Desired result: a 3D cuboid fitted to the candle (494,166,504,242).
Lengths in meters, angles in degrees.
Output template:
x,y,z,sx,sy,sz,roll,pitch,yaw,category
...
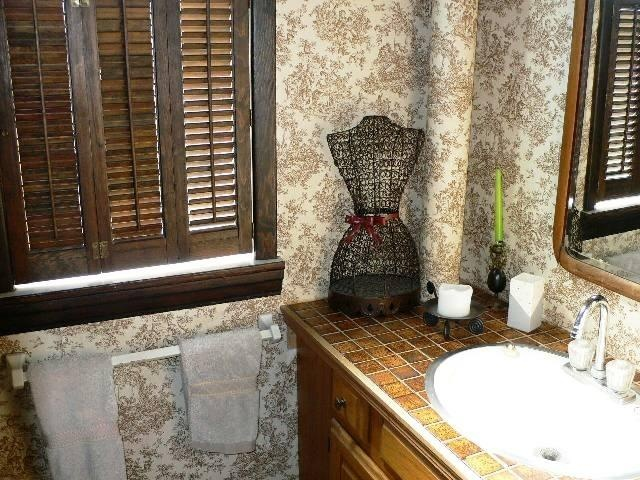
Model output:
x,y,z,sx,sy,sz,roll,pitch,yaw,category
0.597,-0.116,1.738,0.024,0.242,0.115,1,13,19,candle
